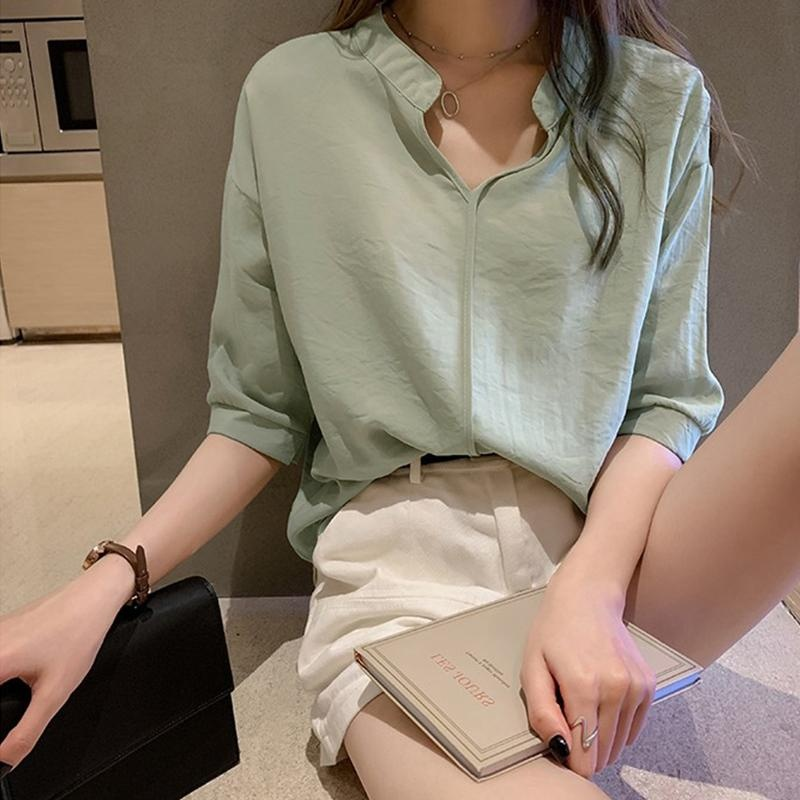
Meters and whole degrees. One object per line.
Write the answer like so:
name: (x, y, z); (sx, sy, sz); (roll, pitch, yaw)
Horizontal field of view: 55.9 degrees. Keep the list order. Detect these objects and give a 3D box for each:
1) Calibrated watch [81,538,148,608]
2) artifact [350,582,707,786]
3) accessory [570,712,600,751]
Calibrated watch: (-0.306, 0.189, 0.837); (0.063, 0.073, 0.023); (-9, 3, 28)
artifact: (0.101, 0.242, 0.701); (0.220, 0.055, 0.171); (-20, 44, -30)
accessory: (0.157, 0.281, 0.643); (0.023, 0.017, 0.026); (-2, 73, -12)
